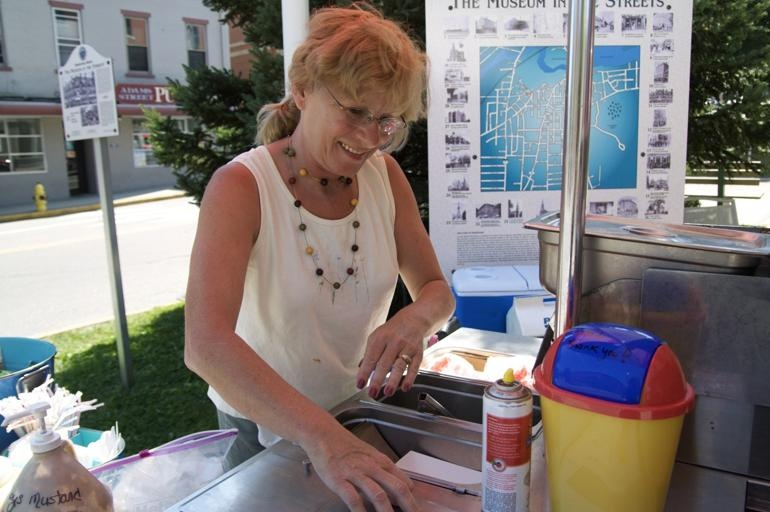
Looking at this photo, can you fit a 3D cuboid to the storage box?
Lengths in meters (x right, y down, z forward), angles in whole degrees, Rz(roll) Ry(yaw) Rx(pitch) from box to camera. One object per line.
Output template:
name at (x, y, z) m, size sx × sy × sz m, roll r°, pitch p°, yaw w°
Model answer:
storage box at (0.729, 0.290, 3.393) m, size 0.599 × 0.350 × 0.327 m, roll 0°, pitch 11°, yaw 10°

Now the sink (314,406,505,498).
sink at (0.054, 0.486, 1.331) m, size 0.420 × 0.105 × 0.220 m, roll 2°, pitch 12°, yaw 22°

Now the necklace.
necklace at (-0.190, -0.116, 1.631) m, size 0.218 × 0.502 × 0.220 m, roll -3°, pitch 14°, yaw -24°

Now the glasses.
glasses at (-0.038, -0.412, 1.501) m, size 0.254 × 0.131 × 0.078 m, roll -11°, pitch 14°, yaw -39°

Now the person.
person at (-0.186, -0.040, 1.534) m, size 0.694 × 1.561 × 0.609 m, roll 3°, pitch 7°, yaw 33°

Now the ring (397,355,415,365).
ring at (0.056, 0.278, 1.404) m, size 0.028 × 0.013 × 0.025 m, roll 33°, pitch 6°, yaw 24°
